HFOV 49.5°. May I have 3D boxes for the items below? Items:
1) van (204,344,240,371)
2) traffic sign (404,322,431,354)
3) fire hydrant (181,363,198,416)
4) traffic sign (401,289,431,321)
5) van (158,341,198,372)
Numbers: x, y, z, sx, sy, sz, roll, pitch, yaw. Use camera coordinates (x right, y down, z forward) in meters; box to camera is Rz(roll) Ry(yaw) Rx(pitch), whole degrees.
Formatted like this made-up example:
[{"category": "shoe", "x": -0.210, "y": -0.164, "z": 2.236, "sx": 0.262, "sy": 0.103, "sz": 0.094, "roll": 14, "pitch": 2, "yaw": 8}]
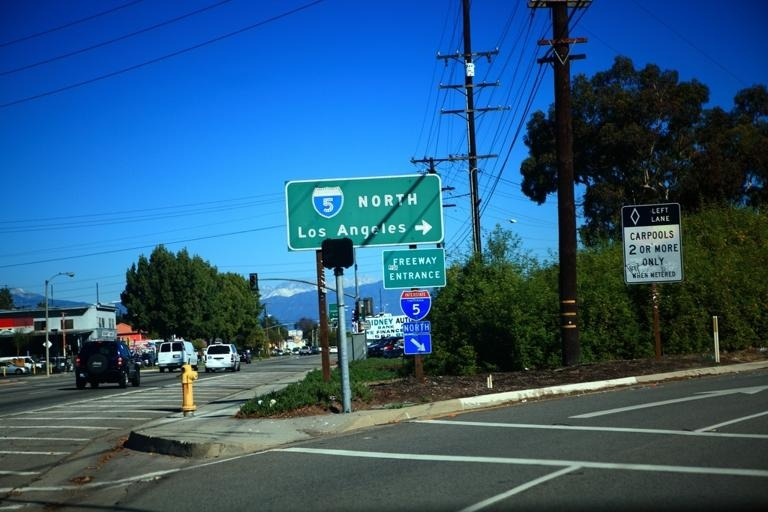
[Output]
[{"category": "van", "x": -10.592, "y": 6.773, "z": 54.594, "sx": 2.078, "sy": 1.834, "sz": 2.112, "roll": -3, "pitch": -8, "yaw": -14}, {"category": "traffic sign", "x": 1.152, "y": 2.905, "z": 29.216, "sx": 1.057, "sy": 1.237, "sz": 0.076, "roll": -2, "pitch": 0, "yaw": -2}, {"category": "fire hydrant", "x": -6.105, "y": 4.235, "z": 26.190, "sx": 0.417, "sy": 1.626, "sz": 1.118, "roll": -2, "pitch": -8, "yaw": -15}, {"category": "traffic sign", "x": 1.088, "y": 1.699, "z": 29.032, "sx": 1.020, "sy": 1.060, "sz": 0.581, "roll": -4, "pitch": -7, "yaw": -3}, {"category": "van", "x": -14.331, "y": 7.039, "z": 58.050, "sx": 2.207, "sy": 2.160, "sz": 2.759, "roll": -4, "pitch": -8, "yaw": -5}]
